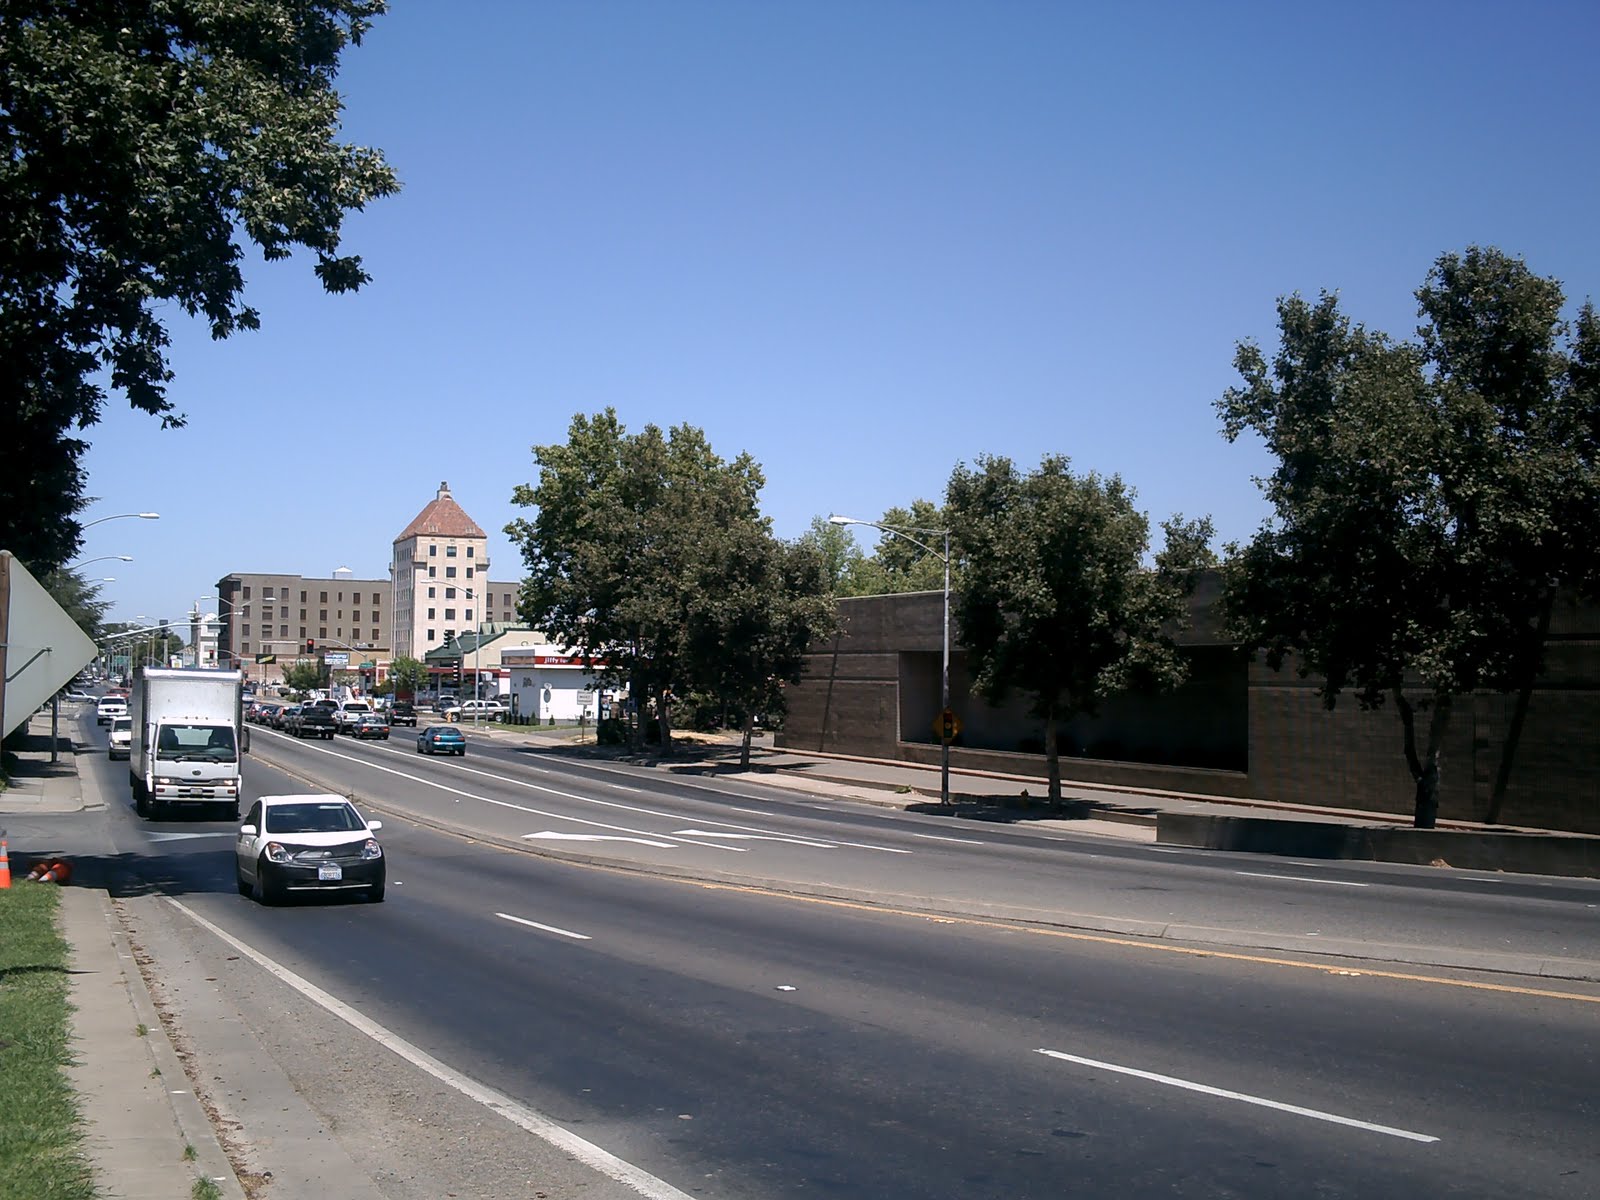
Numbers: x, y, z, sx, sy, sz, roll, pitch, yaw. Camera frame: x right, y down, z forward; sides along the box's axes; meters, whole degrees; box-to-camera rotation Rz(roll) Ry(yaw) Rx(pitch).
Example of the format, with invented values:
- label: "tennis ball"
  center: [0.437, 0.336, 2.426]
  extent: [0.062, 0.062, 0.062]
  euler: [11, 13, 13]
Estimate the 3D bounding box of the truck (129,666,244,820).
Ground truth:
- label: "truck"
  center: [-15.775, 3.569, 40.164]
  extent: [1.941, 2.531, 4.830]
  euler: [1, -5, -18]
